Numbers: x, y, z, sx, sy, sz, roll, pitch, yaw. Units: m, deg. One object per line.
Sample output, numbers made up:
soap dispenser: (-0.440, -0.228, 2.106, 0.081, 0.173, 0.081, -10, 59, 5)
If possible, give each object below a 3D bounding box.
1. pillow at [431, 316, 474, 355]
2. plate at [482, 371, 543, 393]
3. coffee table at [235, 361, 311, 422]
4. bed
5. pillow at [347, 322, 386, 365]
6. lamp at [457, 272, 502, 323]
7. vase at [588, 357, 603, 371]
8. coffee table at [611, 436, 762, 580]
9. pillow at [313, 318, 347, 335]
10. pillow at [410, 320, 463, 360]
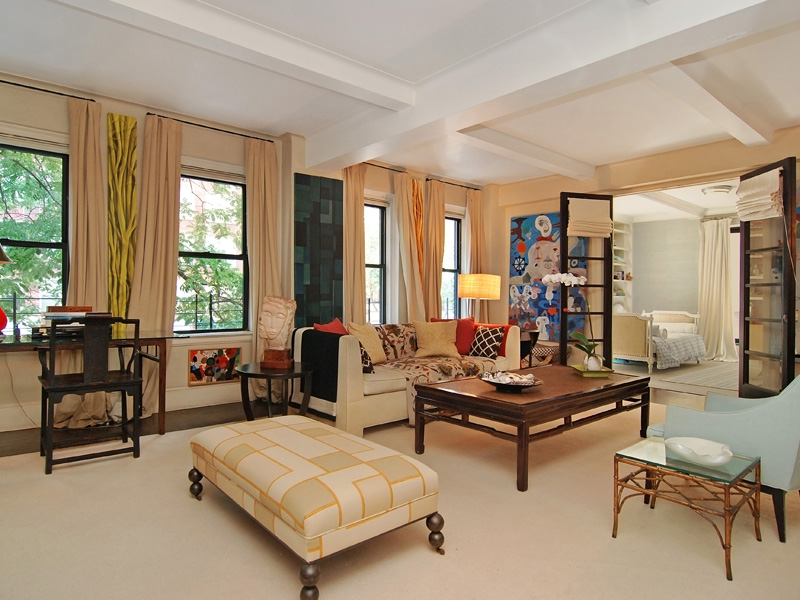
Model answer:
pillow: (0.614, 0.438, 6.390, 0.393, 0.401, 0.143, -1, -11, 10)
plate: (0.930, 0.671, 4.539, 0.430, 0.128, 0.387, -1, 1, 37)
coffee table: (-1.135, 0.773, 5.109, 0.662, 0.690, 0.629, 0, -4, -9)
bed: (4.125, 0.643, 8.840, 1.557, 0.754, 1.040, -1, 0, -36)
pillow: (-0.340, 0.453, 5.522, 0.176, 0.310, 0.362, -12, 2, 23)
lamp: (1.122, -0.128, 7.670, 0.444, 0.495, 0.435, 0, 0, 22)
vase: (1.782, 0.590, 5.033, 0.123, 0.115, 0.124, 1, 5, 9)
coffee table: (1.787, 1.144, 3.444, 0.729, 0.651, 0.905, 2, -4, -38)
pillow: (-0.685, 0.288, 5.622, 0.221, 0.069, 0.224, 1, 26, -40)
pillow: (0.426, 0.450, 6.289, 0.653, 0.529, 0.342, 1, 1, -7)
